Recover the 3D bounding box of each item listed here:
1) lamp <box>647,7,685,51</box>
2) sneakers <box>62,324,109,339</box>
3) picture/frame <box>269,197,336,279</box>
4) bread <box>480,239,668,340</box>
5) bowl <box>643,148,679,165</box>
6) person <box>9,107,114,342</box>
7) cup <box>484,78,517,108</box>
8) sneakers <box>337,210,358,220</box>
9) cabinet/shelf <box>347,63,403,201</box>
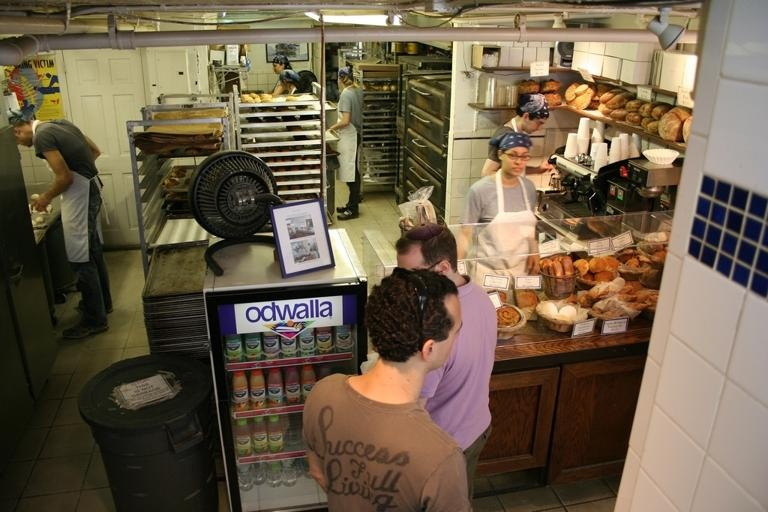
[{"bbox_3d":[1.478,-1.184,2.636,0.162,0.200,0.195,4,22,25],"label":"lamp"},{"bbox_3d":[-3.179,0.789,5.324,0.426,0.169,0.150,-5,18,-37],"label":"sneakers"},{"bbox_3d":[-0.516,-0.087,3.037,0.460,0.511,0.038,-16,13,-22],"label":"picture/frame"},{"bbox_3d":[1.444,0.274,3.593,1.362,0.622,0.295,1,-8,-6],"label":"bread"},{"bbox_3d":[2.456,-0.865,4.409,0.270,0.142,0.203,-4,20,6],"label":"bowl"},{"bbox_3d":[-3.301,-0.338,5.254,0.722,2.294,0.793,-15,22,-21],"label":"person"},{"bbox_3d":[1.387,-1.890,6.073,0.387,0.355,0.388,3,7,0],"label":"cup"},{"bbox_3d":[-0.588,-0.635,7.988,0.365,0.138,0.130,1,27,-6],"label":"sneakers"},{"bbox_3d":[-0.182,-2.118,8.279,0.739,1.848,1.937,-3,26,-6],"label":"cabinet/shelf"}]
